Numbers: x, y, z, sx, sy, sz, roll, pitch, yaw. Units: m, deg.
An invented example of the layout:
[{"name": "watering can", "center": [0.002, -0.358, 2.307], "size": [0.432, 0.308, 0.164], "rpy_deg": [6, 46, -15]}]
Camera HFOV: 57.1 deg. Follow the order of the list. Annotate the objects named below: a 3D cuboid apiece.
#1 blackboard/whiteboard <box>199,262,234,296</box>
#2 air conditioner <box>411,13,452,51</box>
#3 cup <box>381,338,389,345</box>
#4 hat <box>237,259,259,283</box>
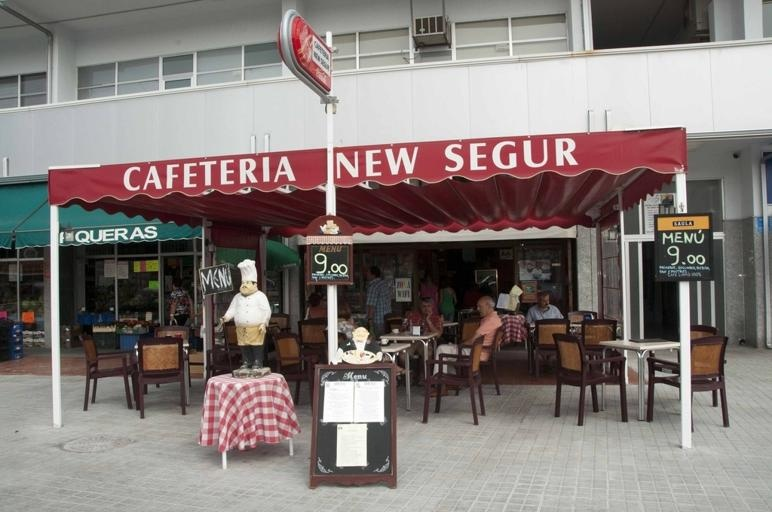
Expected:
[{"name": "blackboard/whiteboard", "center": [-3.370, 0.458, 14.132], "size": [0.701, 0.614, 0.094], "rpy_deg": [-10, -4, -32]}, {"name": "air conditioner", "center": [1.163, -5.921, 18.665], "size": [1.089, 0.721, 0.777], "rpy_deg": [0, 21, 11]}, {"name": "cup", "center": [-0.044, 1.689, 13.901], "size": [0.092, 0.119, 0.172], "rpy_deg": [-1, -3, 14]}, {"name": "hat", "center": [-2.322, 0.249, 11.952], "size": [0.416, 0.547, 0.382], "rpy_deg": [1, -16, -10]}]
